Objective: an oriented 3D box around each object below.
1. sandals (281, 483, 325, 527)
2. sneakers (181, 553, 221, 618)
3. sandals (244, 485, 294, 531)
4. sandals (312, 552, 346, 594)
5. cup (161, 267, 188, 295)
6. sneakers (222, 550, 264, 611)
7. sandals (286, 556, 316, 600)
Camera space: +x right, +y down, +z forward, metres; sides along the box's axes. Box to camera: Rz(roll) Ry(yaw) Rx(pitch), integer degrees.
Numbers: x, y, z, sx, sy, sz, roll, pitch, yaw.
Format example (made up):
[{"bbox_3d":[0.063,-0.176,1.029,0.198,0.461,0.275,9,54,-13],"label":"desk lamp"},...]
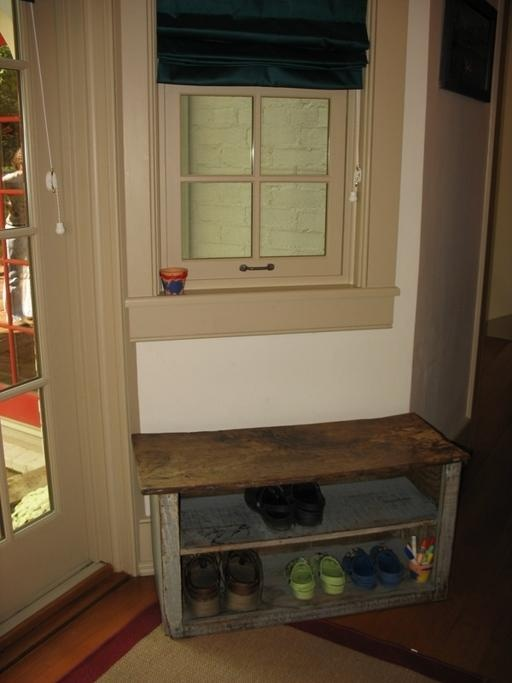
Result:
[{"bbox_3d":[0.175,0.544,1.878,0.115,0.072,0.257,8,9,2],"label":"sandals"},{"bbox_3d":[-0.178,0.792,1.785,0.106,0.114,0.185,0,20,-2],"label":"sneakers"},{"bbox_3d":[0.071,0.544,1.833,0.123,0.073,0.238,-1,7,-4],"label":"sandals"},{"bbox_3d":[0.262,0.817,1.908,0.055,0.050,0.130,-2,11,-2],"label":"sandals"},{"bbox_3d":[-0.271,-0.199,1.797,0.089,0.066,0.083,1,10,0],"label":"cup"},{"bbox_3d":[-0.046,0.784,1.834,0.123,0.149,0.218,5,4,-3],"label":"sneakers"},{"bbox_3d":[0.152,0.805,1.874,0.089,0.054,0.185,-7,9,-3],"label":"sandals"}]
